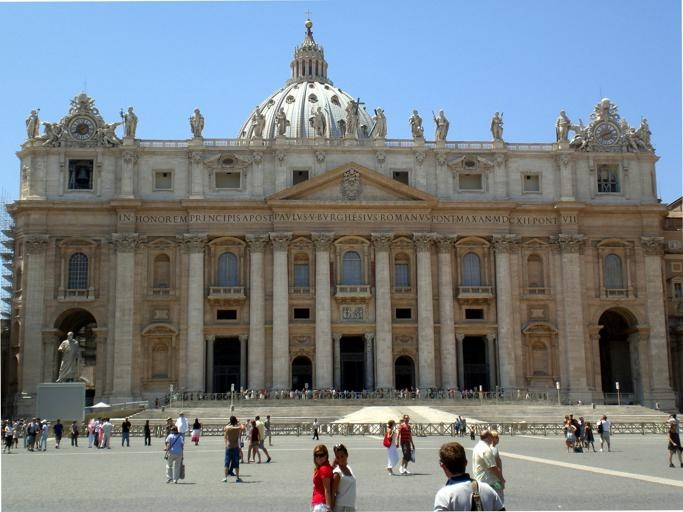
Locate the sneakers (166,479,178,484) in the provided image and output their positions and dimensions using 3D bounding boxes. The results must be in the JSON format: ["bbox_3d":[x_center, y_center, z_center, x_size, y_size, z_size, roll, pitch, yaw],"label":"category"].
[{"bbox_3d":[-6.809,9.191,40.800,0.423,0.170,0.142,0,-13,18],"label":"sneakers"}]

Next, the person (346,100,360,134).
[{"bbox_3d":[1.068,-12.140,88.650,0.907,3.618,1.182,-7,-14,19],"label":"person"}]
